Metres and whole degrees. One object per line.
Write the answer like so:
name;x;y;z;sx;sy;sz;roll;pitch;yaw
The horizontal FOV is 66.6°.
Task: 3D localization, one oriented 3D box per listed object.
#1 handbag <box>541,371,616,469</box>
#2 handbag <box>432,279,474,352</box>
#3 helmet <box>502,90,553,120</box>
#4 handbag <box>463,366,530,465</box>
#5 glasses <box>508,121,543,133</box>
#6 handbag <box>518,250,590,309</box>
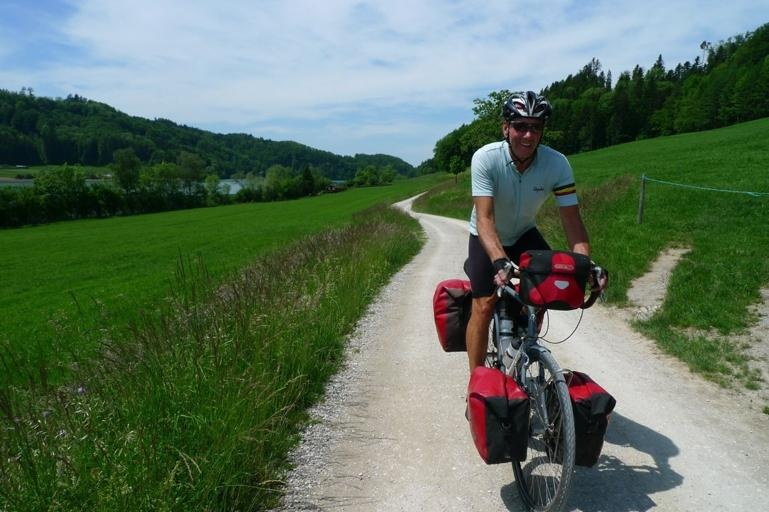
handbag;2.320;1.962;7.385;0.600;1.032;1.034;3;11;-10
handbag;1.050;0.787;8.600;0.590;1.134;0.855;-2;4;7
helmet;1.761;-1.867;7.294;0.588;0.344;0.388;-1;15;9
handbag;1.443;1.960;7.586;0.721;1.043;1.460;0;2;1
glasses;1.774;-1.627;7.381;0.416;0.142;0.140;0;15;12
handbag;2.033;0.238;6.985;0.819;0.795;0.577;2;8;-2
